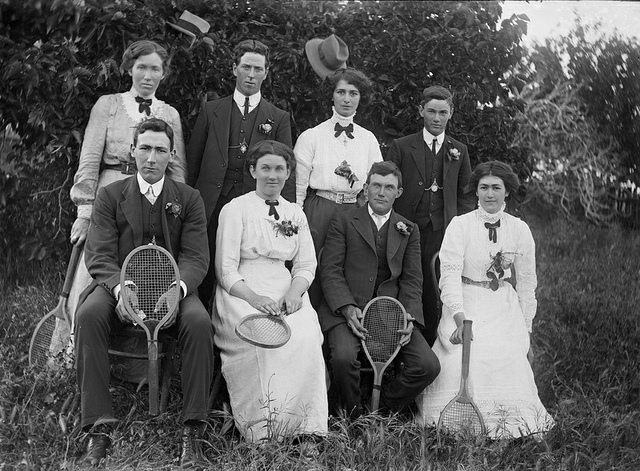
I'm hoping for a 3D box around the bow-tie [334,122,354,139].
[{"bbox_3d":[0.245,-1.091,6.157,0.181,0.150,0.014,3,-20,-12],"label":"bow-tie"}]

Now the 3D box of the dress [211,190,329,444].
[{"bbox_3d":[-0.427,0.653,5.130,0.986,2.094,0.884,2,1,-11],"label":"dress"}]

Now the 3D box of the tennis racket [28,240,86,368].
[{"bbox_3d":[-2.447,0.756,5.515,0.389,1.393,0.109,11,7,-5],"label":"tennis racket"}]

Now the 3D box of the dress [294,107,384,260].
[{"bbox_3d":[0.227,-0.354,6.324,0.943,2.332,0.791,3,18,5],"label":"dress"}]

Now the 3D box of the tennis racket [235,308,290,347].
[{"bbox_3d":[-0.430,0.707,4.961,0.339,0.061,0.625,3,18,34],"label":"tennis racket"}]

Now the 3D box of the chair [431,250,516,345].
[{"bbox_3d":[1.626,0.573,6.083,0.902,1.393,0.828,-1,6,20],"label":"chair"}]

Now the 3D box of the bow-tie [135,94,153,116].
[{"bbox_3d":[-1.678,-1.231,5.610,0.227,0.237,0.033,3,-30,-31],"label":"bow-tie"}]

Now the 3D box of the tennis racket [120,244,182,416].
[{"bbox_3d":[-1.349,0.754,4.696,0.469,1.368,0.413,2,1,-14],"label":"tennis racket"}]

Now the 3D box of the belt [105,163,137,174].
[{"bbox_3d":[-1.878,-0.629,5.547,0.352,0.103,0.051,3,1,20],"label":"belt"}]

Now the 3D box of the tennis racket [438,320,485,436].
[{"bbox_3d":[1.219,1.211,4.994,0.372,0.763,0.363,3,1,16],"label":"tennis racket"}]

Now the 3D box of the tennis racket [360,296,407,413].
[{"bbox_3d":[0.549,1.244,5.478,0.400,1.465,0.066,2,26,-4],"label":"tennis racket"}]
